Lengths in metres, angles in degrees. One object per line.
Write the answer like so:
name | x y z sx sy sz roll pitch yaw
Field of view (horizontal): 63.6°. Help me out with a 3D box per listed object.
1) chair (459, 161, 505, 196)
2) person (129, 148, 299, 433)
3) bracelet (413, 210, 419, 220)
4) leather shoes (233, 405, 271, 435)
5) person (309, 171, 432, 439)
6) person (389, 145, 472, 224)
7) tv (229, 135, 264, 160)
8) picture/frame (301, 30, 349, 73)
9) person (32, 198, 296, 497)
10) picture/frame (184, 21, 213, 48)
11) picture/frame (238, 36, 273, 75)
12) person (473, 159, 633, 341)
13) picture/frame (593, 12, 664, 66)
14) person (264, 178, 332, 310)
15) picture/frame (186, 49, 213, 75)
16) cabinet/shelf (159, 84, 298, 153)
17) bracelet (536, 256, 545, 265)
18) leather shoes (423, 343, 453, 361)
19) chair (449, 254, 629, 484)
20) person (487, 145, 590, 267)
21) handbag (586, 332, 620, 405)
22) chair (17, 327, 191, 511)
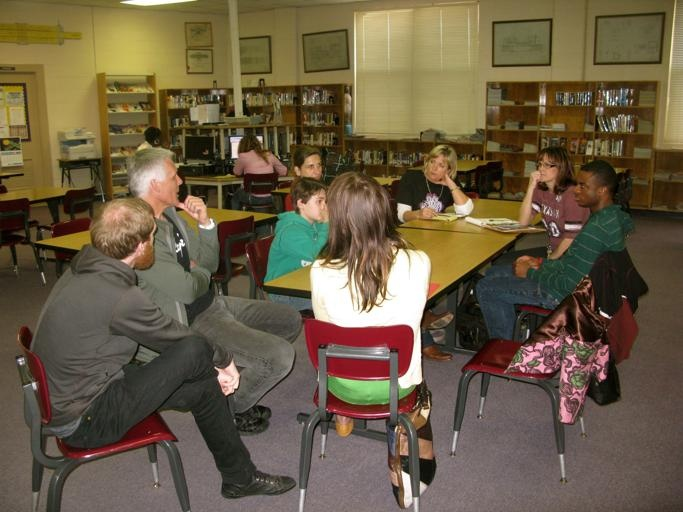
chair | 2.119 -1.167 8.365 0.532 0.374 0.975 6 19 25
person | -0.730 0.250 3.136 0.853 1.667 0.580 -4 15 3
bracelet | 0.614 -0.324 4.516 0.050 0.041 0.053 8 20 22
leather shoes | -0.518 0.980 3.273 0.151 0.055 0.158 -1 19 -14
person | 0.125 0.291 2.457 0.529 1.290 0.324 0 13 8
person | 0.807 -0.516 4.796 0.586 0.860 0.498 9 14 3
tv | -1.381 -1.528 7.916 0.526 0.424 0.041 1 5 -2
picture/frame | -0.291 -4.093 11.113 0.839 0.704 0.035 6 16 30
person | -0.834 0.478 2.607 1.014 1.377 0.579 -5 4 -28
picture/frame | -3.067 -4.656 11.700 0.038 0.479 0.598 14 17 42
picture/frame | -1.868 -4.284 11.933 0.878 0.820 0.139 7 15 33
person | 1.338 0.077 3.623 0.794 1.389 0.560 11 25 23
picture/frame | 4.453 -3.306 8.451 0.803 0.671 0.039 6 15 28
person | -0.259 -0.054 3.618 0.536 0.874 0.473 2 5 -7
picture/frame | -3.085 -4.130 11.835 0.021 0.436 0.575 14 21 31
cabinet/shelf | -2.291 -2.936 11.231 2.149 1.504 2.295 6 16 20
bracelet | 1.365 0.041 3.778 0.021 0.030 0.073 6 29 27
leather shoes | 0.686 0.693 4.028 0.253 0.118 0.099 0 5 20
chair | 1.194 0.572 3.322 0.803 1.343 0.734 8 18 23
person | 1.440 -0.316 4.014 0.779 0.906 0.585 -10 10 -28
handbag | 1.422 0.680 2.977 0.151 0.358 0.238 4 14 26
chair | -1.118 0.793 2.511 0.647 0.969 0.667 -9 15 -29
